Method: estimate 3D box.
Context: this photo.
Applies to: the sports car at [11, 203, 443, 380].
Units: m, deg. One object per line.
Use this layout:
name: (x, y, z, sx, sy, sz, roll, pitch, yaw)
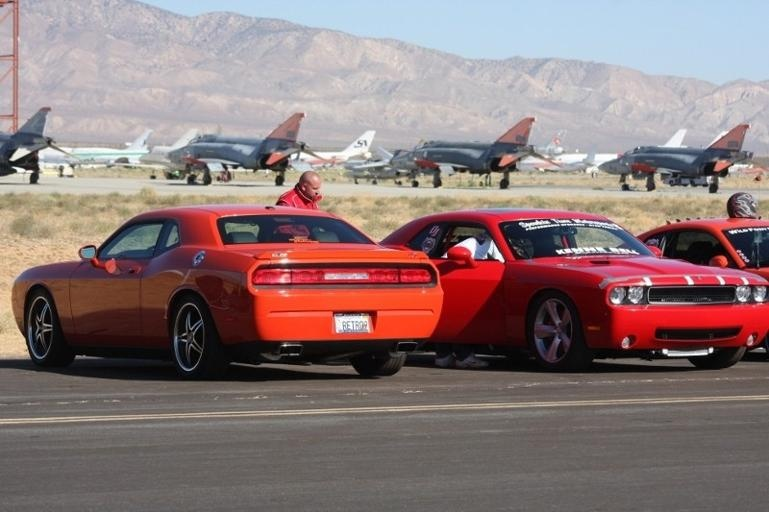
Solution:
sports car: (-1.897, 0.429, 10.139, 4.651, 2.070, 1.833, 2, 3, 32)
